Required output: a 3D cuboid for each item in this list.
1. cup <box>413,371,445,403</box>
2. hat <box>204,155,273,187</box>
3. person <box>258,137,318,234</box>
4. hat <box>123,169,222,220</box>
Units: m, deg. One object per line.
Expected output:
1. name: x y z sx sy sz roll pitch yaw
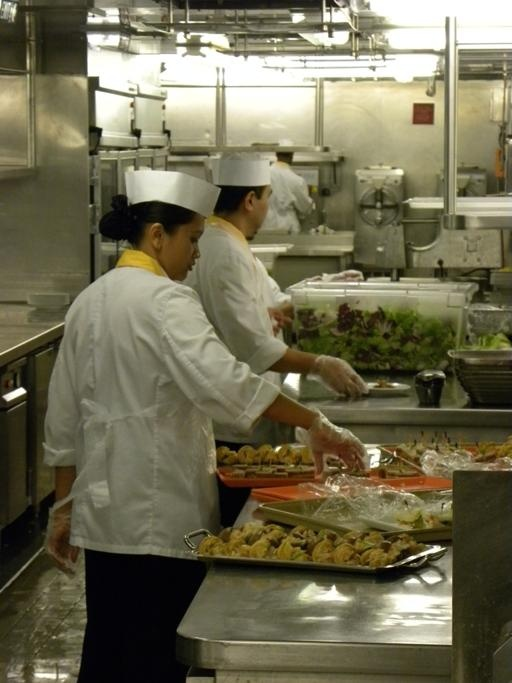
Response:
1. cup: 0.636 0.168 2.579 0.099 0.124 0.184 1 9 12
2. hat: -0.062 -0.628 2.652 0.219 0.102 0.163 -1 9 -3
3. person: 0.329 -1.798 8.249 0.784 1.022 0.607 18 27 27
4. hat: -0.193 -0.340 1.762 0.179 0.063 0.150 0 10 -31
